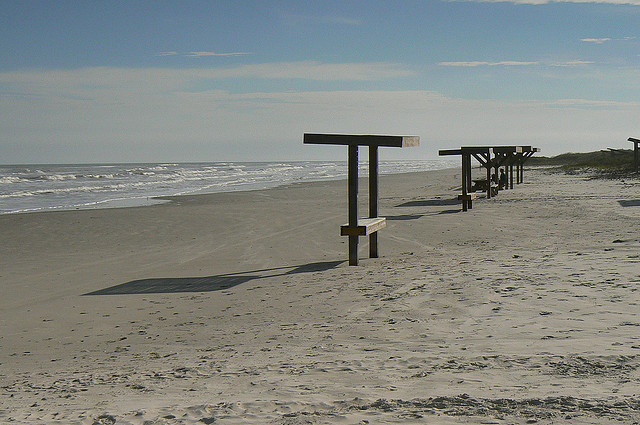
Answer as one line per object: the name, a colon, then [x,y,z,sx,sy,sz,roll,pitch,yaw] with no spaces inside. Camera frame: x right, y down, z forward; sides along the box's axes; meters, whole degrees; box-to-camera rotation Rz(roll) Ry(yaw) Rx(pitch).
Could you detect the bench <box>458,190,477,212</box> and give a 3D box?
bench: [4.494,-0.332,23.615,0.426,0.338,1.088,0,2,22]
